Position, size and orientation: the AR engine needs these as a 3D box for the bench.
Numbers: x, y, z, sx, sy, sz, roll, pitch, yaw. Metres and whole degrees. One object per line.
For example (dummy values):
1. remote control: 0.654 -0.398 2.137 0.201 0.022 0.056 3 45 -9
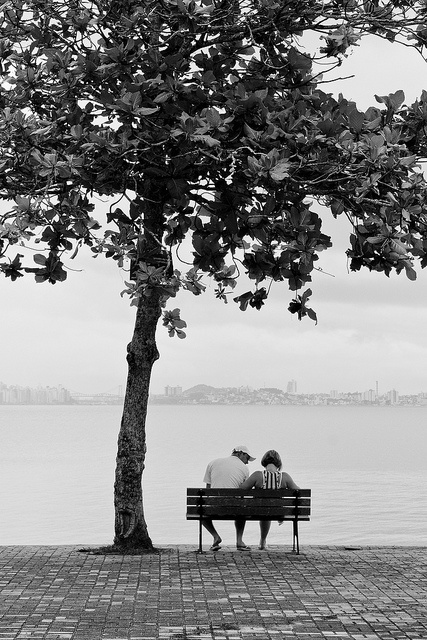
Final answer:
1. bench: 0.381 2.226 11.772 1.382 0.733 0.540 0 -9 0

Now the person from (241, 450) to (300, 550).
1. person: 0.671 2.136 12.686 0.736 1.214 0.657 6 2 8

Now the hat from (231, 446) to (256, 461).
1. hat: 0.398 1.615 13.048 0.296 0.152 0.188 20 -13 -3
